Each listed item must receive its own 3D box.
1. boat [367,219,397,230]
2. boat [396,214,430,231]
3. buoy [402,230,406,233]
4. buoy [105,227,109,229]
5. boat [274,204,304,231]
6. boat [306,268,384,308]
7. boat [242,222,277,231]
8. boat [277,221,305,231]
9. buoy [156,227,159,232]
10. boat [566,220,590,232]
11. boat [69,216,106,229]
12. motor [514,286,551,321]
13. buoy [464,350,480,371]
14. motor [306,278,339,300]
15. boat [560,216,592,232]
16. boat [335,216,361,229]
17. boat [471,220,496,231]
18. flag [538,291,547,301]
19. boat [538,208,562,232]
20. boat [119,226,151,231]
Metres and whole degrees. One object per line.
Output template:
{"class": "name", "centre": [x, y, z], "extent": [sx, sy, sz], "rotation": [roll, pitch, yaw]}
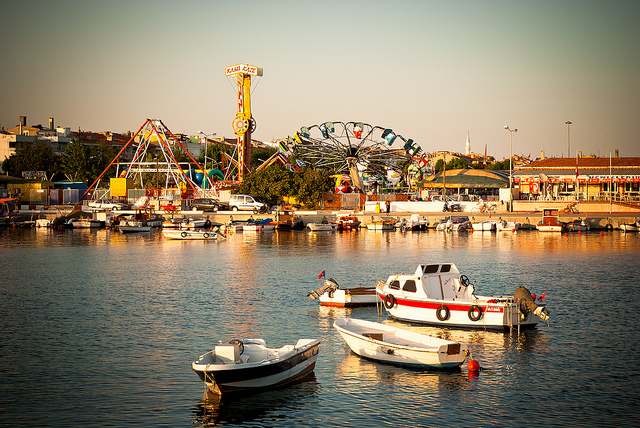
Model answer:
{"class": "boat", "centre": [9.474, 1.607, 127.375], "extent": [3.599, 1.332, 2.426], "rotation": [1, -1, -40]}
{"class": "boat", "centre": [14.345, 1.371, 127.431], "extent": [4.245, 1.860, 1.897], "rotation": [-5, 9, -23]}
{"class": "buoy", "centre": [12.165, 2.510, 125.940], "extent": [0.446, 0.450, 0.425], "rotation": [1, 3, 4]}
{"class": "buoy", "centre": [-31.117, 2.157, 136.177], "extent": [0.315, 0.283, 0.299], "rotation": [1, 2, -11]}
{"class": "boat", "centre": [-3.856, 0.810, 130.436], "extent": [3.422, 3.040, 6.306], "rotation": [0, -1, 11]}
{"class": "boat", "centre": [2.296, 6.378, 69.562], "extent": [4.418, 1.563, 2.951], "rotation": [0, 0, -22]}
{"class": "boat", "centre": [-7.685, 2.054, 126.396], "extent": [4.613, 1.133, 1.554], "rotation": [-1, 6, -14]}
{"class": "boat", "centre": [-3.382, 1.945, 129.638], "extent": [1.156, 0.823, 5.020], "rotation": [7, 8, 32]}
{"class": "buoy", "centre": [-23.059, 2.371, 133.169], "extent": [0.316, 0.593, 0.497], "rotation": [7, -3, -43]}
{"class": "boat", "centre": [35.427, 1.721, 123.344], "extent": [1.305, 1.208, 4.089], "rotation": [-3, -4, 40]}
{"class": "boat", "centre": [-34.096, 1.379, 135.850], "extent": [3.668, 1.300, 2.045], "rotation": [0, 3, 14]}
{"class": "motor", "centre": [14.694, 6.236, 62.605], "extent": [2.049, 2.292, 0.657], "rotation": [0, 0, 12]}
{"class": "buoy", "centre": [10.055, 9.426, 58.608], "extent": [0.938, 1.302, 1.356], "rotation": [0, -1, 9]}
{"class": "motor", "centre": [0.679, 5.980, 69.922], "extent": [2.022, 1.321, 1.013], "rotation": [-30, -12, -11]}
{"class": "boat", "centre": [35.442, 1.559, 123.591], "extent": [1.832, 1.361, 5.548], "rotation": [1, 4, 24]}
{"class": "boat", "centre": [4.680, 1.270, 128.466], "extent": [3.353, 1.690, 1.507], "rotation": [1, -1, -42]}
{"class": "boat", "centre": [23.090, 1.708, 124.598], "extent": [1.072, 1.377, 3.138], "rotation": [0, -1, -45]}
{"class": "flag", "centre": [17.300, 6.386, 69.560], "extent": [0.481, 0.433, 2.122], "rotation": [-19, -10, 8]}
{"class": "boat", "centre": [31.406, 0.945, 122.204], "extent": [3.082, 2.978, 2.964], "rotation": [0, -1, 11]}
{"class": "boat", "centre": [-24.822, 2.117, 127.654], "extent": [5.251, 0.807, 1.204], "rotation": [-2, 6, -33]}
